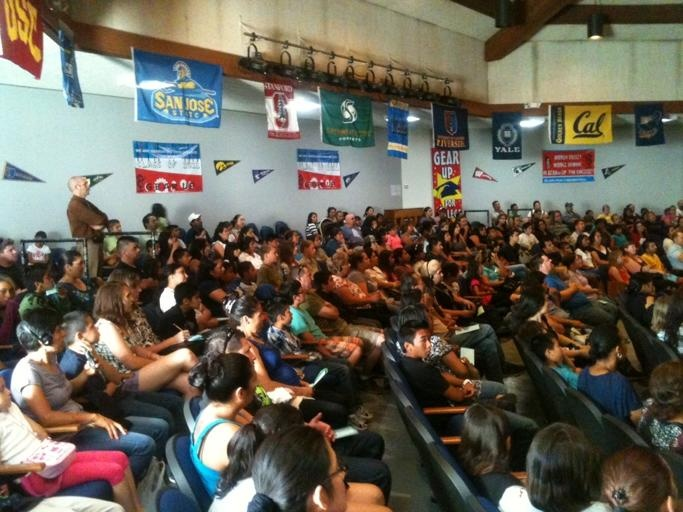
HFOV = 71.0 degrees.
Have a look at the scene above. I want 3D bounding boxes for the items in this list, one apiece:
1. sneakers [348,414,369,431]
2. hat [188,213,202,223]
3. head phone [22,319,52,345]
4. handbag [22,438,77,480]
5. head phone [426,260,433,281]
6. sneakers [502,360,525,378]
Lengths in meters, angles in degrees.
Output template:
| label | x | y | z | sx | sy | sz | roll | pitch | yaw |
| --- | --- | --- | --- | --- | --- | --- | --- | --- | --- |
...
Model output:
| label | x | y | z | sx | sy | sz | roll | pitch | yaw |
| --- | --- | --- | --- | --- | --- | --- | --- | --- | --- |
| sneakers | 0.154 | 1.440 | 4.094 | 0.173 | 0.071 | 0.185 | 0 | 9 | 2 |
| hat | -2.763 | -0.715 | 8.981 | 0.195 | 0.193 | 0.135 | -29 | 28 | -4 |
| head phone | -1.808 | 0.441 | 2.883 | 0.160 | 0.073 | 0.133 | 30 | -7 | 17 |
| handbag | -1.537 | 1.074 | 2.546 | 0.176 | 0.058 | 0.176 | 13 | 17 | 7 |
| head phone | 1.137 | 0.165 | 6.065 | 0.110 | 0.185 | 0.137 | 3 | -7 | -1 |
| sneakers | 1.882 | 1.249 | 5.242 | 0.297 | 0.124 | 0.117 | -6 | 12 | 5 |
